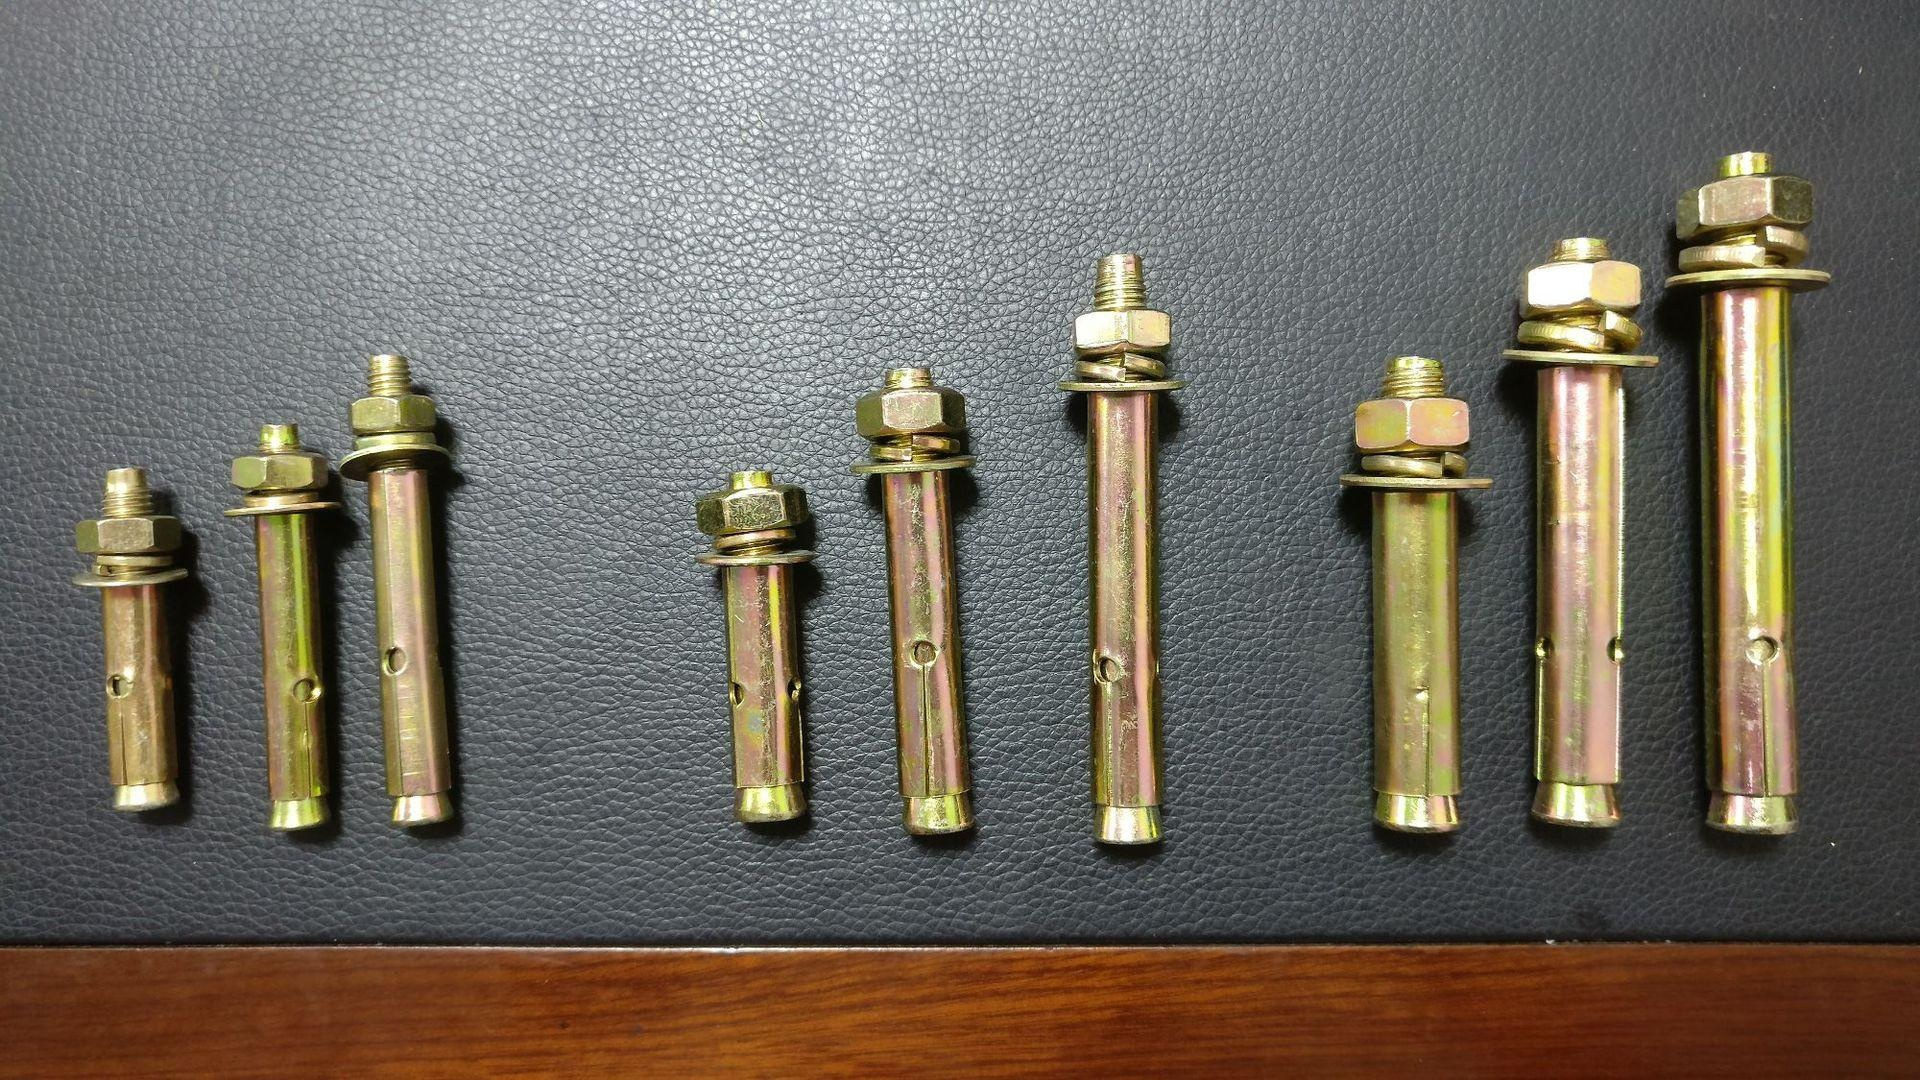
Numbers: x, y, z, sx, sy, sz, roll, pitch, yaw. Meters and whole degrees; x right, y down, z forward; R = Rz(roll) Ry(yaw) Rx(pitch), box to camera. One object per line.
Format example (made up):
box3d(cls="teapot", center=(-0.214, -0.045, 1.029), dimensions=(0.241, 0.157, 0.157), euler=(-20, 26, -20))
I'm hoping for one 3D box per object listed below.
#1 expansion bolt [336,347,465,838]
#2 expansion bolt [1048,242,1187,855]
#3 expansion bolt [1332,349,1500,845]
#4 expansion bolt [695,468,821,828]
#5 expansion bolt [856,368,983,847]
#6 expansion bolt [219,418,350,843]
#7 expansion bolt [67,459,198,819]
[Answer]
box3d(cls="expansion bolt", center=(-1.047, 0.099, 4.467), dimensions=(0.194, 0.881, 0.229), euler=(-6, 14, -12))
box3d(cls="expansion bolt", center=(0.304, 0.028, 4.422), dimensions=(0.208, 1.106, 0.258), euler=(1, 14, 15))
box3d(cls="expansion bolt", center=(0.861, 0.112, 4.422), dimensions=(0.266, 0.892, 0.232), euler=(-1, 14, 8))
box3d(cls="expansion bolt", center=(-0.372, 0.207, 4.450), dimensions=(0.201, 0.657, 0.193), euler=(-4, 14, -6))
box3d(cls="expansion bolt", center=(-0.068, 0.121, 4.439), dimensions=(0.217, 0.874, 0.235), euler=(-5, 14, -7))
box3d(cls="expansion bolt", center=(-1.262, 0.171, 4.484), dimensions=(0.196, 0.767, 0.196), euler=(-6, 14, -13))
box3d(cls="expansion bolt", center=(-1.562, 0.195, 4.500), dimensions=(0.193, 0.653, 0.186), euler=(-9, 15, -23))
